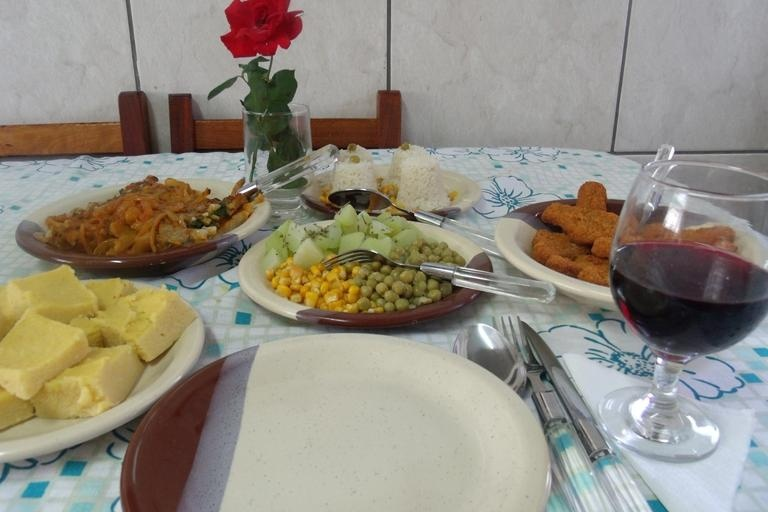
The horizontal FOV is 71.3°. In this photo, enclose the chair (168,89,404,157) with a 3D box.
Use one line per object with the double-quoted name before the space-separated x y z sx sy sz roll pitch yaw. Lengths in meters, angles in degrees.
"chair" -0.446 -0.564 2.391 1.068 0.311 0.577 -7 18 -6
